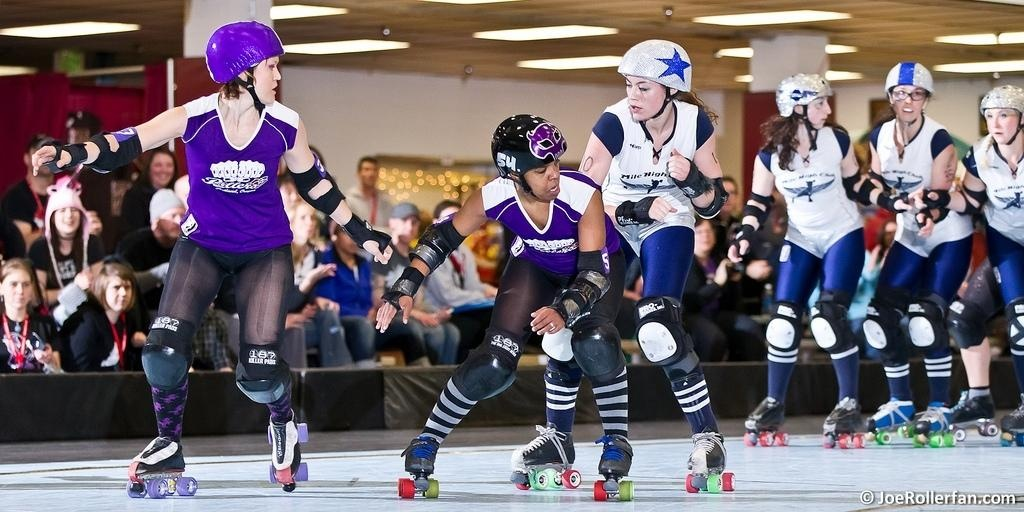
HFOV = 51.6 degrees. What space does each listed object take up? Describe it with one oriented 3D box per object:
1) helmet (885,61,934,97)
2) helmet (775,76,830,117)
[{"bbox_3d":[3.987,-1.784,10.711,0.511,0.310,0.648,2,-3,17],"label":"helmet"},{"bbox_3d":[2.946,-1.651,10.676,0.574,0.404,0.422,-2,24,16],"label":"helmet"}]
